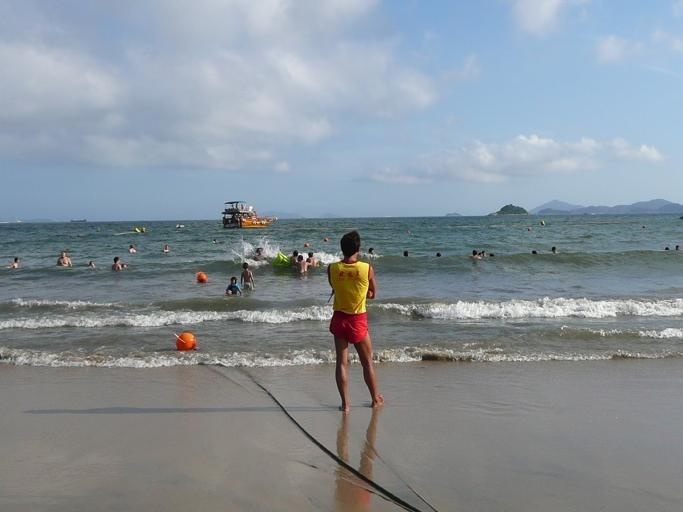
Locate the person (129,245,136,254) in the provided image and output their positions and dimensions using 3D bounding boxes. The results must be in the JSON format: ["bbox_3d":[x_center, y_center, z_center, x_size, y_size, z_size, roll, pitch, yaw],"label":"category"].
[{"bbox_3d":[-11.623,-0.361,34.484,0.330,0.425,1.076,-7,14,-13],"label":"person"}]

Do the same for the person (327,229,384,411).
[{"bbox_3d":[0.152,0.826,7.742,0.593,2.273,0.415,-2,2,-4],"label":"person"}]
